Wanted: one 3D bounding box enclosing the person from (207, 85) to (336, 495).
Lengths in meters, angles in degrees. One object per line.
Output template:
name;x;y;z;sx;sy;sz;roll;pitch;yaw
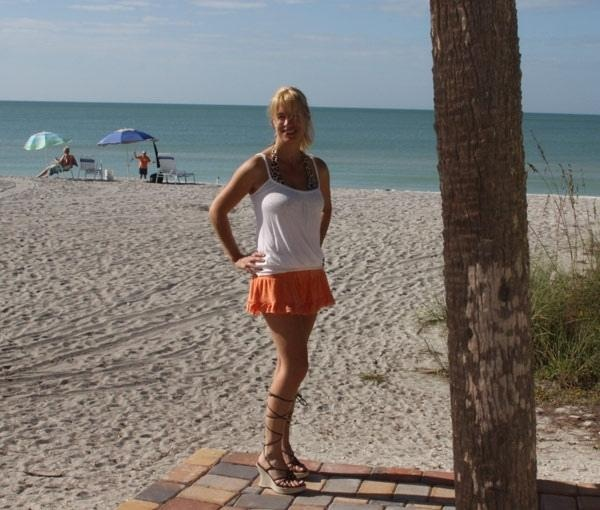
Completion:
person;-0.095;0.204;3.580;0.677;1.999;0.293;-5;1;-10

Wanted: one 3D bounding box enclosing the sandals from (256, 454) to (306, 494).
sandals;-0.101;1.189;3.635;0.258;0.072;0.142;10;14;39

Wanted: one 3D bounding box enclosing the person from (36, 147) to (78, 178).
person;-7.631;-2.933;21.499;0.835;0.988;0.908;-4;1;1
